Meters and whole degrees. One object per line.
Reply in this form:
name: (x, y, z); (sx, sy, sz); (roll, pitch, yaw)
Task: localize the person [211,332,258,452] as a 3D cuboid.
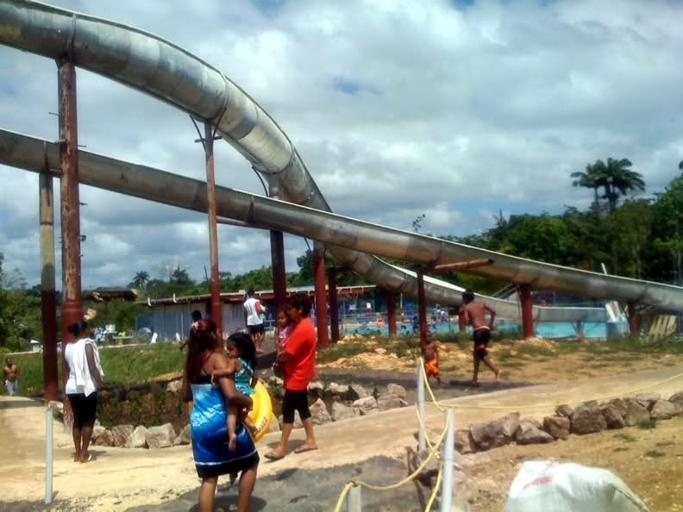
person: (-1.396, 1.751, 8.498); (0.661, 0.580, 1.718); (3, 27, -8)

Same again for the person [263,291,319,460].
person: (-0.730, 1.808, 10.020); (0.721, 2.440, 0.824); (-3, -6, -7)

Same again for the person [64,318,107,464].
person: (-4.203, 2.169, 10.800); (0.545, 2.263, 0.808); (-1, -6, -23)

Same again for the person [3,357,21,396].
person: (-9.472, 3.438, 19.065); (0.359, 1.020, 1.843); (-1, -8, -26)
